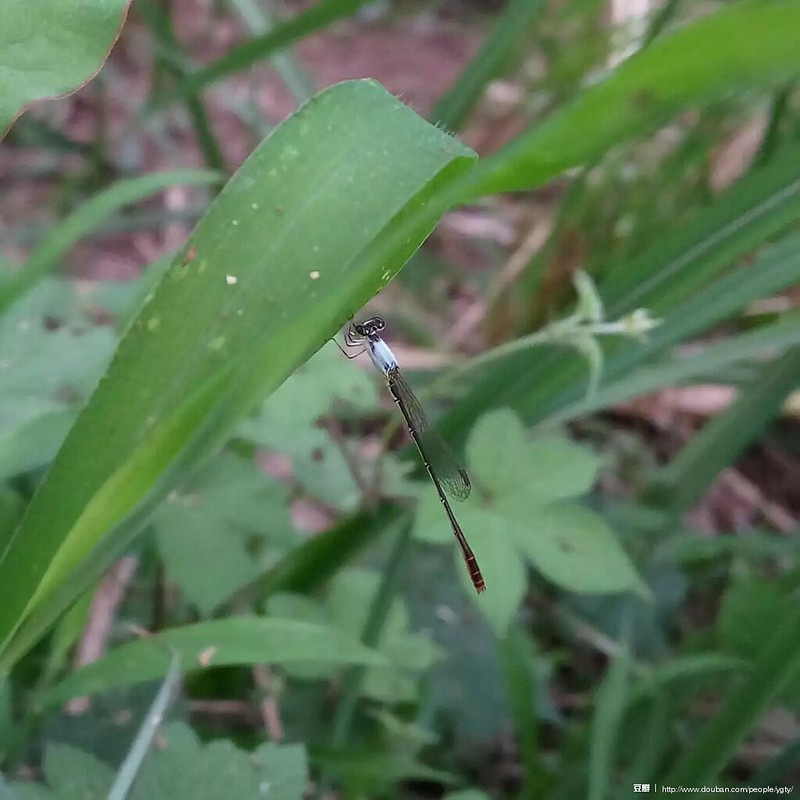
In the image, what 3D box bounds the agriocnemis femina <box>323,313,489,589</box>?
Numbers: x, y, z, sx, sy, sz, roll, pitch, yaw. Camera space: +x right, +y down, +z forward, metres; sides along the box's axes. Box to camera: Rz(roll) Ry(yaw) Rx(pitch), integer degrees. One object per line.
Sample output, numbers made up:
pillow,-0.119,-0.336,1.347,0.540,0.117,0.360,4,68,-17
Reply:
agriocnemis femina,-0.013,0.017,1.044,0.377,0.091,0.084,64,23,10
